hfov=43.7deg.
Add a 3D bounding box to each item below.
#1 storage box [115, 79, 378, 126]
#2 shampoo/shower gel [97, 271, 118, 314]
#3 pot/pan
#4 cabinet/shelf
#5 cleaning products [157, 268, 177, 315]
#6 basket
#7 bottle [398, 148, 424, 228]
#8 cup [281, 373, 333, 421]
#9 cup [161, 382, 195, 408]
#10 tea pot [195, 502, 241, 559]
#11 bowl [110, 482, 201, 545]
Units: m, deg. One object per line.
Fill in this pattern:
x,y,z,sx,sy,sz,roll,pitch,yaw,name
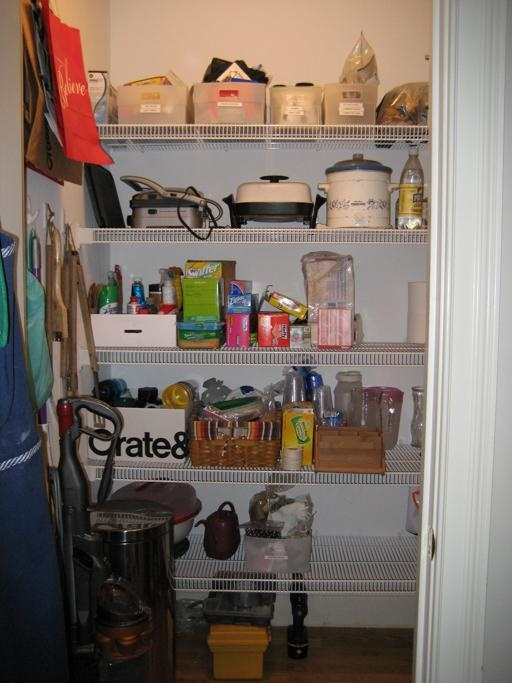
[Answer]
-0.027,-0.749,2.041,0.825,0.173,0.141,-2,10,5,storage box
-0.480,-0.153,2.075,0.069,0.132,0.137,-5,10,-9,shampoo/shower gel
0.189,-0.429,1.988,0.457,0.203,0.251,-1,6,3,pot/pan
-0.026,0.015,2.030,1.566,1.541,0.522,0,11,3,cabinet/shelf
-0.284,-0.161,2.067,0.059,0.135,0.121,-4,10,-7,cleaning products
-0.057,0.319,2.091,0.232,0.141,0.180,0,-10,2,basket
0.508,-0.505,2.088,0.090,0.274,0.273,0,10,15,bottle
0.211,0.192,2.221,0.198,0.206,0.116,6,-11,-10,cup
-0.255,0.186,2.128,0.083,0.086,0.081,17,8,-2,cup
-0.102,0.642,2.222,0.120,0.199,0.202,1,11,21,tea pot
-0.335,0.530,2.165,0.258,0.156,0.258,3,6,0,bowl
